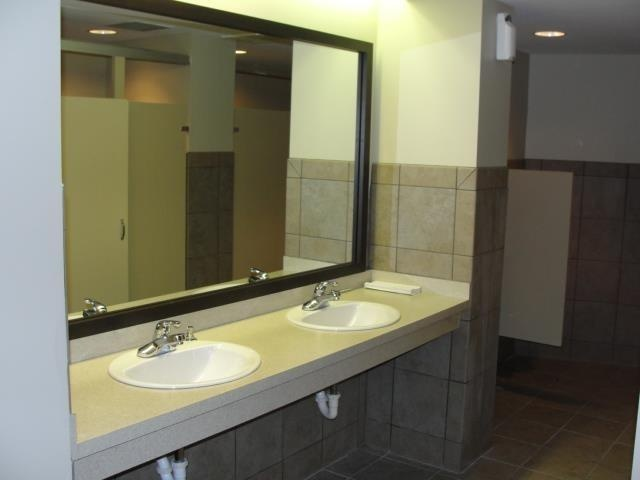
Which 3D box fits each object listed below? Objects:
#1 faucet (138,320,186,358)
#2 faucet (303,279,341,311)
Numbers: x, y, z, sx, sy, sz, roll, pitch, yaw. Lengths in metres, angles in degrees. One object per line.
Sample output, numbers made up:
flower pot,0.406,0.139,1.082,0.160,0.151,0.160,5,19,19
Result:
faucet,-0.578,0.362,1.910,0.100,0.063,0.160,4,17,17
faucet,-0.011,0.279,2.601,0.201,0.130,0.106,-2,1,38
